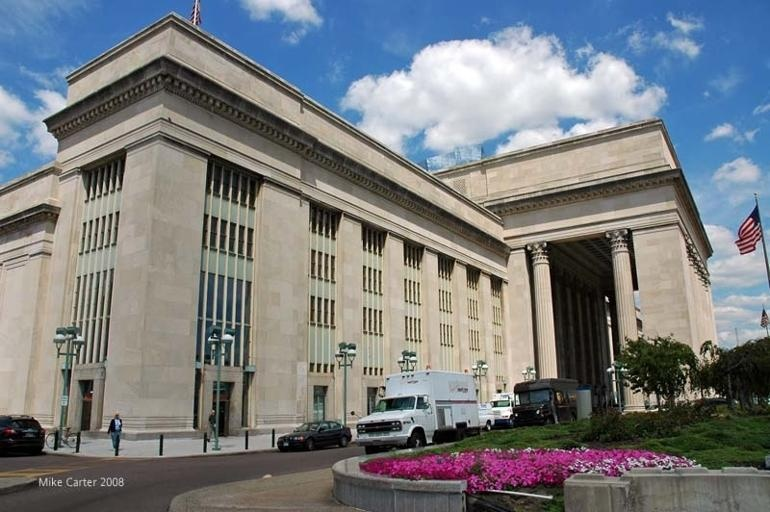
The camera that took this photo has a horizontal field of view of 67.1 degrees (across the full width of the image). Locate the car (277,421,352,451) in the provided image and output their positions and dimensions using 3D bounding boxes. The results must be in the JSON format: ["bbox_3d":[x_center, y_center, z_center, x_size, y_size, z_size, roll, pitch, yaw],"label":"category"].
[{"bbox_3d":[-3.840,10.031,32.587,1.671,1.158,3.740,-15,-24,35],"label":"car"}]

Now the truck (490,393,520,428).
[{"bbox_3d":[9.702,12.715,47.780,1.548,1.824,3.286,-6,-20,18],"label":"truck"}]

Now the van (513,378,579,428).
[{"bbox_3d":[12.185,11.484,44.484,3.051,2.954,5.444,-15,-30,33],"label":"van"}]

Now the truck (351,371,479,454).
[{"bbox_3d":[1.460,8.446,31.482,3.417,3.703,7.089,-15,-25,35],"label":"truck"}]
